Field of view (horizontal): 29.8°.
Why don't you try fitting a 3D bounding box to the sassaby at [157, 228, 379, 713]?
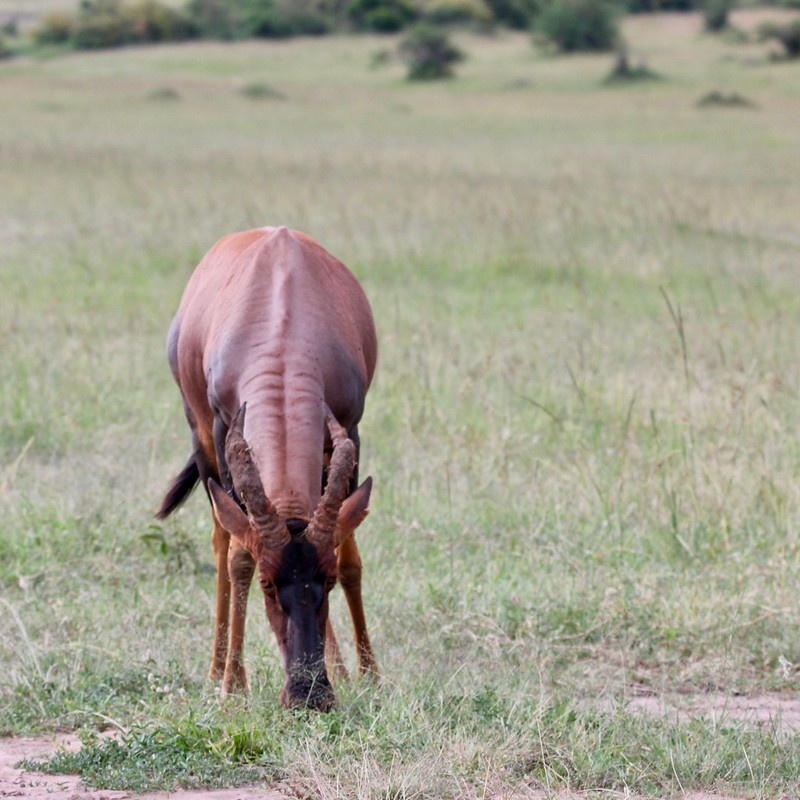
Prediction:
[{"bbox_3d":[-0.733,0.288,9.394,1.012,2.600,4.216,-2,13,-6],"label":"sassaby"}]
